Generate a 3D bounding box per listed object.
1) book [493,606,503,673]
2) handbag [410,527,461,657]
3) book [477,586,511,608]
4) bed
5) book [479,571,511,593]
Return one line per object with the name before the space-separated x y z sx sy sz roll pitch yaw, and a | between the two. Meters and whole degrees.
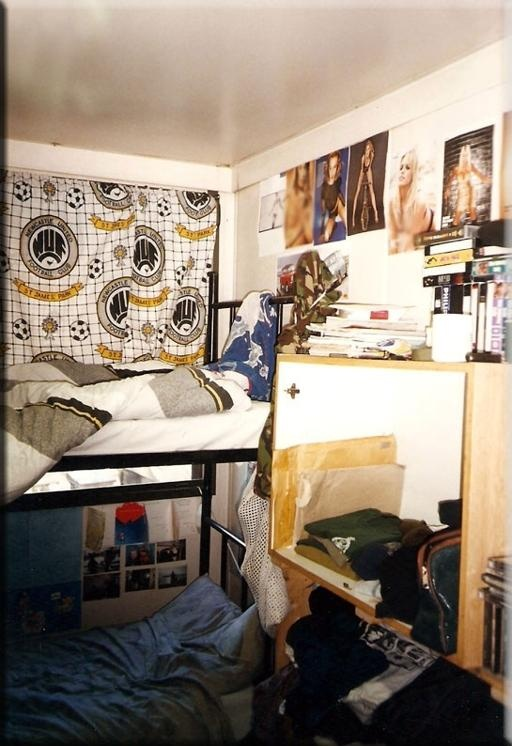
book | 0.434 0.481 0.999 0.017 0.125 0.031 0 -1 22
handbag | 0.353 0.424 1.105 0.089 0.205 0.156 0 0 19
book | 0.422 0.397 0.989 0.051 0.048 0.014 12 27 42
bed | -0.419 0.221 3.050 1.583 2.985 1.408 3 -1 -23
book | 0.423 0.375 0.986 0.011 0.035 0.062 0 0 -23
